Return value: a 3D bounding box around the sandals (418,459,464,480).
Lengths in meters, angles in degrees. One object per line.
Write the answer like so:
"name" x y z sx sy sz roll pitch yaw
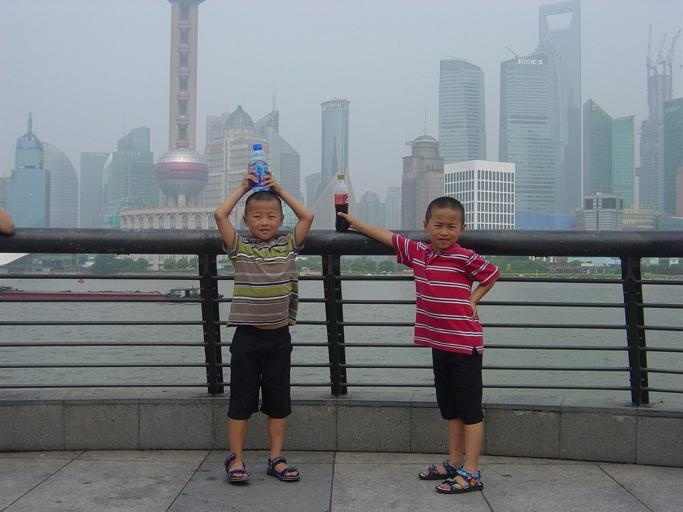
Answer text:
"sandals" 0.775 1.674 8.153 0.369 0.119 0.126 0 -6 4

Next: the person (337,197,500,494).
"person" 0.736 0.671 8.211 0.856 2.236 0.558 2 7 37

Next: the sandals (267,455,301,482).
"sandals" -0.463 1.671 8.205 0.129 0.121 0.290 1 -2 -37

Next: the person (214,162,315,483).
"person" -0.617 0.533 8.257 0.795 2.401 0.437 -4 6 -23

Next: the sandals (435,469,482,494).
"sandals" 0.922 1.738 8.083 0.421 0.160 0.148 1 -6 -5
